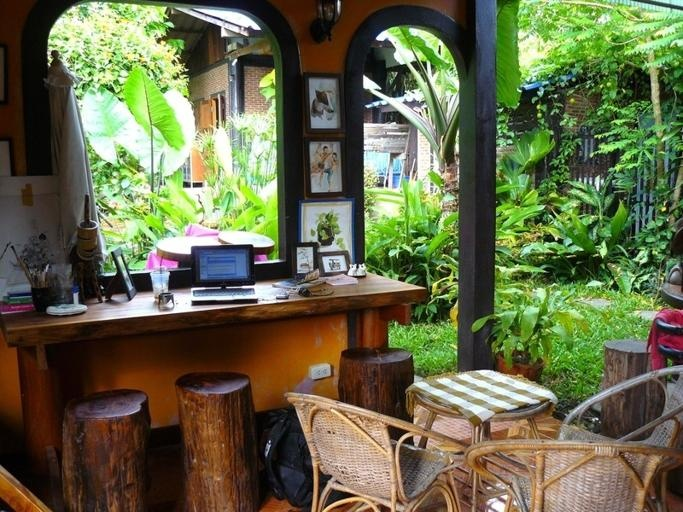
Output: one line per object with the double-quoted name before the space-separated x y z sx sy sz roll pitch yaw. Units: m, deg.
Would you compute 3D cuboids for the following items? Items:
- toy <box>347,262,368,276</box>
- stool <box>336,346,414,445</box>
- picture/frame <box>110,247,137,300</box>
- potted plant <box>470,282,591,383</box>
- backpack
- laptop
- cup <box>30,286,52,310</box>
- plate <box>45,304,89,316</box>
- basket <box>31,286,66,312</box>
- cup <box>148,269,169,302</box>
"toy" 0.122 0.111 4.351 0.105 0.072 0.099 1 12 5
"stool" 0.213 0.777 3.627 0.515 0.573 0.515 4 8 44
"picture/frame" -1.403 0.119 3.707 0.180 0.317 0.321 1 9 -17
"potted plant" 1.528 0.715 4.822 0.953 0.680 0.815 8 -3 -26
"backpack" -0.272 1.261 3.663 0.547 0.556 0.484 -3 -6 -7
"laptop" -0.749 0.114 3.693 0.402 0.361 0.351 -3 3 -11
"cup" -1.724 0.240 3.381 0.123 0.138 0.121 3 7 0
"plate" -1.580 0.312 3.337 0.211 0.061 0.148 -3 3 -27
"basket" -1.692 0.249 3.360 0.152 0.117 0.138 2 3 -7
"cup" -1.134 0.183 3.640 0.145 0.183 0.146 -1 0 0
